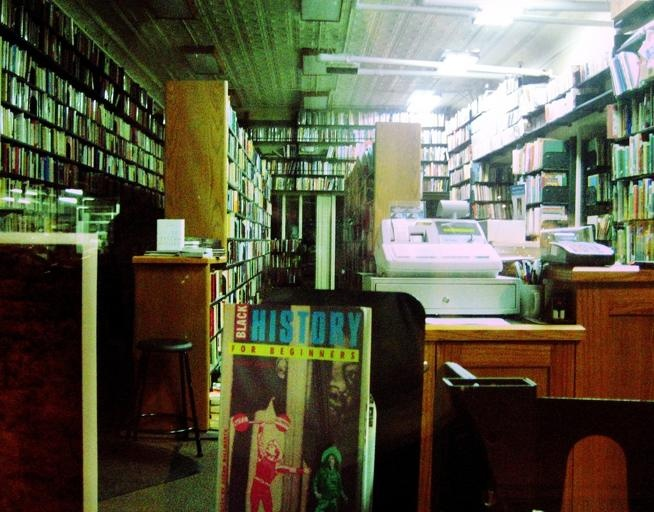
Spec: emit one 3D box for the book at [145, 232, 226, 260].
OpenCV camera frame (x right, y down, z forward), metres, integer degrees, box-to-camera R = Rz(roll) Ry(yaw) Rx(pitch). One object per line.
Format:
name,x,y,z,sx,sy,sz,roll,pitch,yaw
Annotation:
book,-0.897,-0.044,4.310,0.398,0.109,0.778,-2,1,22
